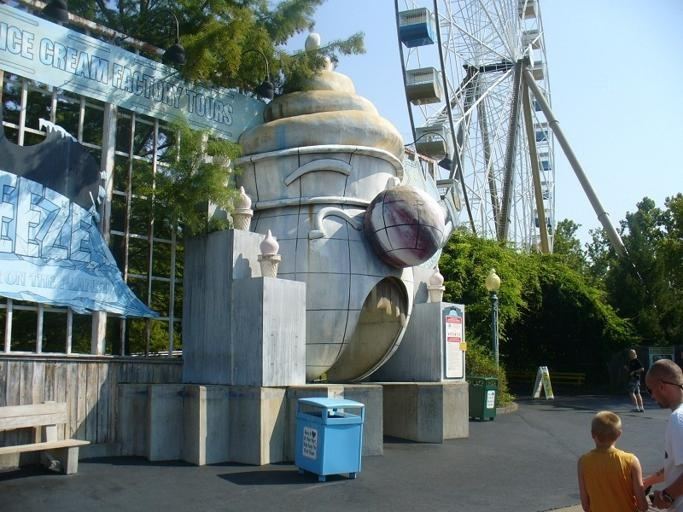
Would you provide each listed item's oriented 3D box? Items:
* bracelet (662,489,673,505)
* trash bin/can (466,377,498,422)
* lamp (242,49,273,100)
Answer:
[{"bbox_3d":[3.300,2.461,7.060,0.048,0.127,0.095,-27,-6,8],"label":"bracelet"},{"bbox_3d":[3.868,3.917,18.993,0.732,1.142,0.525,-3,-9,11],"label":"trash bin/can"},{"bbox_3d":[-2.005,-4.536,17.151,0.689,1.387,2.214,0,-10,-6],"label":"lamp"}]
